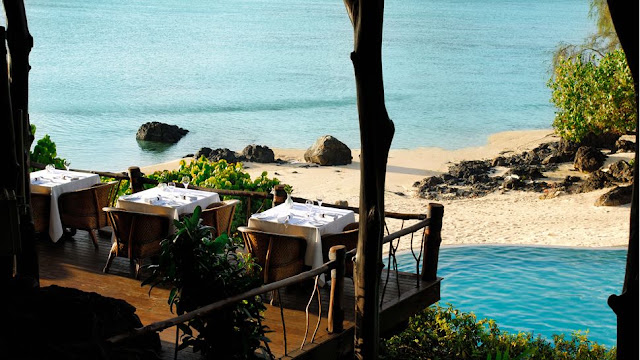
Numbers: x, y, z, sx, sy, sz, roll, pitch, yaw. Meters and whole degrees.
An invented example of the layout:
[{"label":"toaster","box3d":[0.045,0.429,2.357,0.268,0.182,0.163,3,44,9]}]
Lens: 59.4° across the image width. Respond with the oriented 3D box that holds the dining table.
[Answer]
[{"label":"dining table","box3d":[-5.301,0.606,11.709,1.828,0.814,1.519,8,15,22]}]
